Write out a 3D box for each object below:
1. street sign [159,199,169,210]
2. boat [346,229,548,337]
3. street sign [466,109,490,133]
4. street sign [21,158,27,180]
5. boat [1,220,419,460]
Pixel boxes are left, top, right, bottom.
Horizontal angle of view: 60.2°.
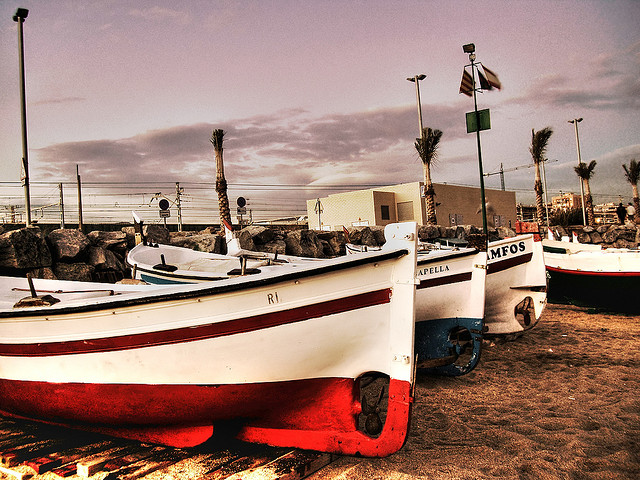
[{"bbox_3d":[-5.228,-1.182,18.559,0.254,0.361,0.585,-2,10,-3],"label":"street sign"},{"bbox_3d":[2.729,0.844,11.328,4.831,2.004,2.095,-1,-4,-5],"label":"boat"},{"bbox_3d":[4.828,-3.655,16.961,0.731,0.642,0.333,5,12,33],"label":"street sign"},{"bbox_3d":[-7.759,-1.855,14.444,0.200,0.439,0.043,7,13,41],"label":"street sign"},{"bbox_3d":[-1.653,1.368,7.672,5.533,2.326,2.999,0,-1,25],"label":"boat"}]
